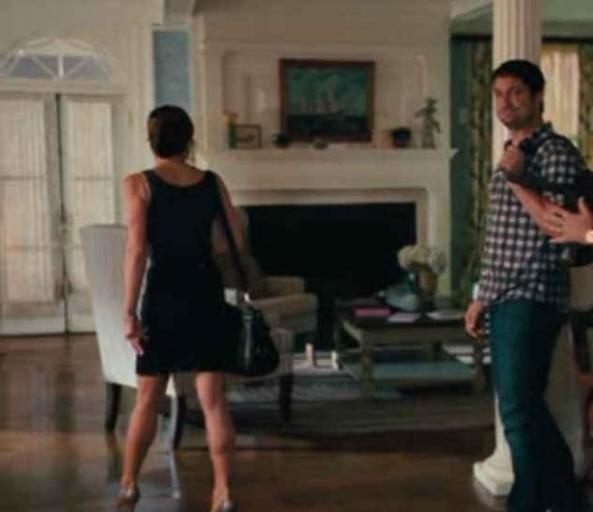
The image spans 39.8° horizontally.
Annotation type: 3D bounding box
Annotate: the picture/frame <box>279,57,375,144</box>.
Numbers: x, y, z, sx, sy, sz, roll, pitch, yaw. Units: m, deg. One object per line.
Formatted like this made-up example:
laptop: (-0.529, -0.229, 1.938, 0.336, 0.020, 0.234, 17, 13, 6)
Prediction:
picture/frame: (0.137, -0.801, 4.164, 0.466, 0.372, 0.043, -1, 5, -8)

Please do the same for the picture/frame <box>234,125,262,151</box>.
picture/frame: (-0.242, -0.597, 4.146, 0.133, 0.116, 0.098, 3, -7, -13)

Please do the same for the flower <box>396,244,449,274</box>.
flower: (0.668, 0.010, 4.315, 0.179, 0.125, 0.188, 2, 0, 13)

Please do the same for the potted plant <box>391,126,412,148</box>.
potted plant: (0.531, -0.624, 4.311, 0.139, 0.133, 0.101, 1, 17, 0)

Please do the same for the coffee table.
coffee table: (0.565, 0.433, 4.214, 0.500, 0.304, 0.638, 0, -2, -3)

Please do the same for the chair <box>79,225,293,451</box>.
chair: (-0.570, 0.348, 3.789, 0.797, 0.942, 0.749, 1, 4, -30)

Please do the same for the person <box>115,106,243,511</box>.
person: (-0.424, 0.304, 2.878, 0.464, 1.226, 0.295, -1, 12, -4)
